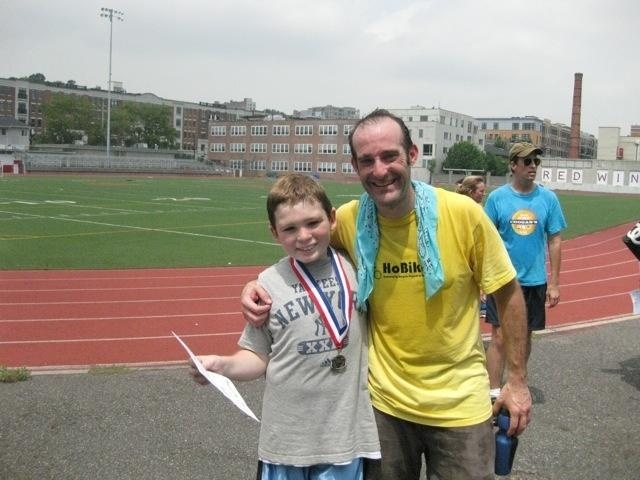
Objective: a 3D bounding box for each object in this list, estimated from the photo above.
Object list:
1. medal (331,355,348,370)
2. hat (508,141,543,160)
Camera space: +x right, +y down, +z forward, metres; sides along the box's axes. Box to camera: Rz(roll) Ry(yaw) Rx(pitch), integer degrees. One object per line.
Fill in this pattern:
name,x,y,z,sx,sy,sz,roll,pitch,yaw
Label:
medal,0.095,0.643,3.122,0.070,0.075,0.018,4,-8,-12
hat,2.018,-0.907,5.973,0.212,0.152,0.294,-3,1,-32
